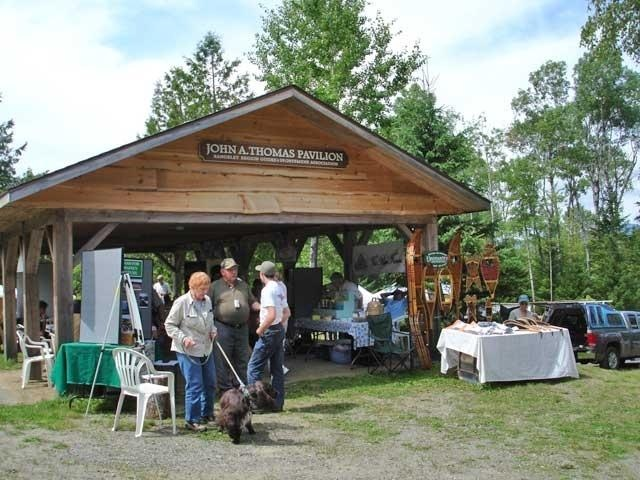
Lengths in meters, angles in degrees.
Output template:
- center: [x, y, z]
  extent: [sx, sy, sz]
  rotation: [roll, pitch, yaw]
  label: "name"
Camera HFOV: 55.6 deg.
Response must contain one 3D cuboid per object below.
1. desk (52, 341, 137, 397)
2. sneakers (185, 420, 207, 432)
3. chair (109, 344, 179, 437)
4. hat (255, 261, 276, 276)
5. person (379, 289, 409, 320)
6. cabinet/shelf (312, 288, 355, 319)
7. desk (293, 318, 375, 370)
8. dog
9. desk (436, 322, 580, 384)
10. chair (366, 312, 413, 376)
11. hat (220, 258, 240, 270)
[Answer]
- center: [-3.375, 1.795, 8.660]
  extent: [0.902, 0.549, 0.904]
  rotation: [5, -9, -32]
  label: "desk"
- center: [-1.635, 2.442, 8.020]
  extent: [0.311, 0.136, 0.114]
  rotation: [-3, -6, 18]
  label: "sneakers"
- center: [-2.369, 1.984, 8.150]
  extent: [0.750, 1.097, 0.864]
  rotation: [2, -5, -33]
  label: "chair"
- center: [-0.804, 0.397, 8.882]
  extent: [0.178, 0.129, 0.253]
  rotation: [-9, 12, -44]
  label: "hat"
- center: [1.720, 1.496, 14.037]
  extent: [0.568, 0.765, 0.251]
  rotation: [-6, -8, -7]
  label: "person"
- center: [0.331, 1.498, 12.898]
  extent: [0.543, 0.696, 1.066]
  rotation: [6, -10, -25]
  label: "cabinet/shelf"
- center: [0.217, 2.073, 13.160]
  extent: [1.531, 0.798, 3.208]
  rotation: [1, 0, -3]
  label: "desk"
- center: [-0.971, 2.142, 7.795]
  extent: [0.881, 0.696, 0.464]
  rotation: [-2, -5, 25]
  label: "dog"
- center: [3.365, 2.036, 10.888]
  extent: [2.349, 0.977, 1.188]
  rotation: [1, 0, 16]
  label: "desk"
- center: [1.299, 1.974, 11.489]
  extent: [0.805, 1.101, 0.761]
  rotation: [3, 5, 41]
  label: "chair"
- center: [-1.368, 0.349, 9.047]
  extent: [0.189, 0.151, 0.280]
  rotation: [0, -4, -28]
  label: "hat"
